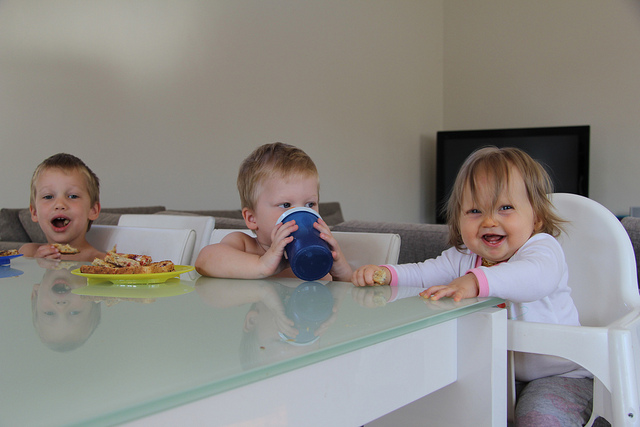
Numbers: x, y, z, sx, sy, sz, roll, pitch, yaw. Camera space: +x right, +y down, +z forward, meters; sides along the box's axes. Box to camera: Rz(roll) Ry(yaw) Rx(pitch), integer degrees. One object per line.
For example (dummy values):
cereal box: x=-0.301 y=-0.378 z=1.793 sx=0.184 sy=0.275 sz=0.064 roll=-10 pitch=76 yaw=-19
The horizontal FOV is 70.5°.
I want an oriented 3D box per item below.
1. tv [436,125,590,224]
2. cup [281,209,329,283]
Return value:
tv: x=2.085 y=-0.378 z=4.992 sx=1.642 sy=1.110 sz=0.125 roll=-1 pitch=3 yaw=5
cup: x=-0.019 y=0.068 z=0.890 sx=0.114 sy=0.108 sz=0.125 roll=9 pitch=26 yaw=-4
